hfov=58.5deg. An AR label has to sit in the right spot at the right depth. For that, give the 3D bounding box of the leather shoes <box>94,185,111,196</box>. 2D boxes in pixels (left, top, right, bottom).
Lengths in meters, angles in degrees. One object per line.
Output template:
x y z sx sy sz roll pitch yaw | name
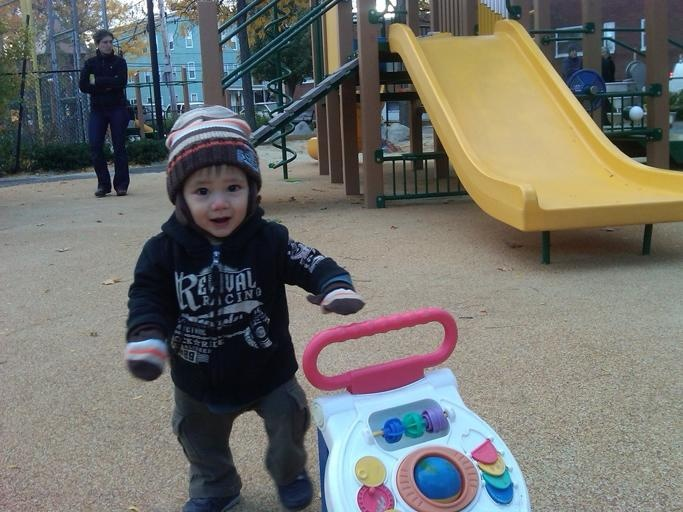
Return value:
-3.362 -0.902 8.518 0.101 0.124 0.271 1 4 5 | leather shoes

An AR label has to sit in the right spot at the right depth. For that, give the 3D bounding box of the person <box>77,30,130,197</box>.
-3.226 -1.966 8.377 0.602 2.260 0.606 -6 11 -20 | person

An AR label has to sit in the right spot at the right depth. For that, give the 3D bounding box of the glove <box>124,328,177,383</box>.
-0.585 0.297 1.834 0.111 0.167 0.061 2 -10 -13 | glove
